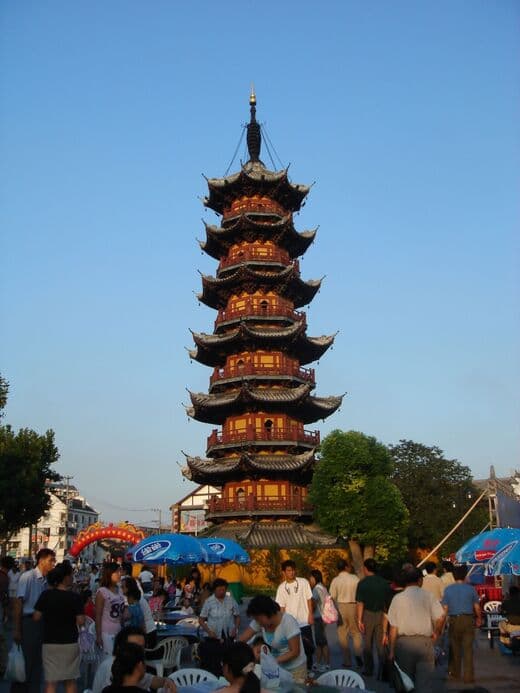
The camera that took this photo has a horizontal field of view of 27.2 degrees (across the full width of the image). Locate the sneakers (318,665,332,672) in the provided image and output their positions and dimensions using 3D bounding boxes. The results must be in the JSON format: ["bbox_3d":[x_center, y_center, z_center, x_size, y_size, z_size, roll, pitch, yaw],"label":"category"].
[{"bbox_3d":[1.183,5.584,18.716,0.139,0.144,0.376,8,-13,-24],"label":"sneakers"}]

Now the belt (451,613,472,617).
[{"bbox_3d":[3.322,4.344,17.487,0.317,0.067,0.105,-3,-13,9],"label":"belt"}]

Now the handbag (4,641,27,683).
[{"bbox_3d":[-3.439,4.461,15.258,0.256,0.516,0.318,3,-14,-13],"label":"handbag"}]
